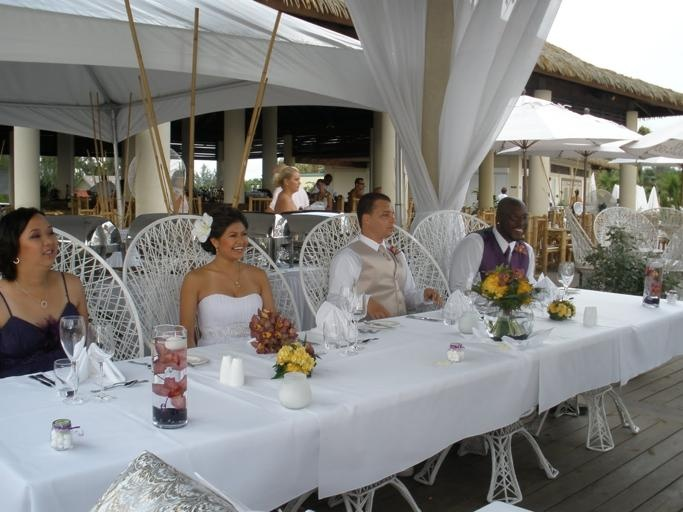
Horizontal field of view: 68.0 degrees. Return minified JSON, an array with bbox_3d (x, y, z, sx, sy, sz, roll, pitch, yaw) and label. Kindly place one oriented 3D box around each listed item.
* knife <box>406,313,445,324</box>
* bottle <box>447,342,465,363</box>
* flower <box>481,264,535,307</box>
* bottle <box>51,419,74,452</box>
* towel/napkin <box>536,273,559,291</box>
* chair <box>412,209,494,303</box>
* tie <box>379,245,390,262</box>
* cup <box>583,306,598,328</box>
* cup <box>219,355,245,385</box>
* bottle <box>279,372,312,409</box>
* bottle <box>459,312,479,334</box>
[{"bbox_3d":[0.481,0.350,2.862,0.239,0.023,0.067,12,4,18],"label":"knife"},{"bbox_3d":[0.469,0.388,2.074,0.062,0.097,0.065,-1,2,0],"label":"bottle"},{"bbox_3d":[0.775,0.164,2.392,0.218,0.223,0.220,9,22,34],"label":"flower"},{"bbox_3d":[-0.711,0.457,1.300,0.061,0.072,0.050,8,11,9],"label":"bottle"},{"bbox_3d":[1.781,0.213,4.366,0.201,0.117,0.204,-6,9,-33],"label":"towel/napkin"},{"bbox_3d":[0.909,-0.028,4.538,0.686,0.833,0.564,-3,4,-34],"label":"chair"},{"bbox_3d":[0.291,-0.021,3.430,0.066,0.101,0.035,-4,-4,-25],"label":"tie"},{"bbox_3d":[1.311,0.324,2.655,0.067,0.099,0.094,0,-1,42],"label":"cup"},{"bbox_3d":[-0.384,0.409,1.838,0.105,0.118,0.065,0,0,23],"label":"cup"},{"bbox_3d":[-0.142,0.420,1.610,0.092,0.091,0.096,2,3,37],"label":"bottle"},{"bbox_3d":[0.631,0.328,2.511,0.084,0.094,0.091,1,-3,0],"label":"bottle"}]
